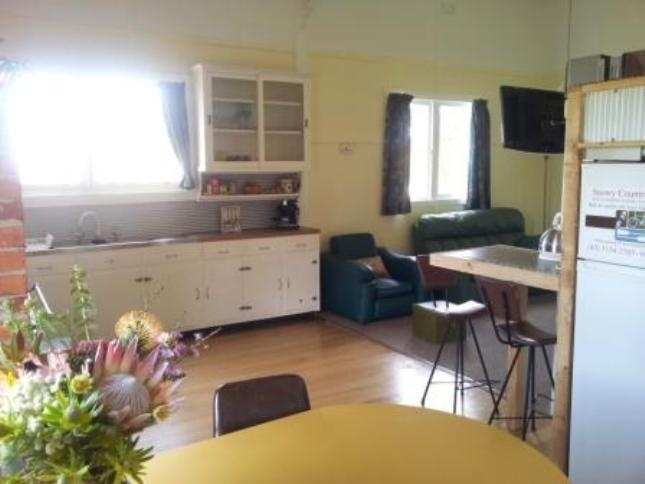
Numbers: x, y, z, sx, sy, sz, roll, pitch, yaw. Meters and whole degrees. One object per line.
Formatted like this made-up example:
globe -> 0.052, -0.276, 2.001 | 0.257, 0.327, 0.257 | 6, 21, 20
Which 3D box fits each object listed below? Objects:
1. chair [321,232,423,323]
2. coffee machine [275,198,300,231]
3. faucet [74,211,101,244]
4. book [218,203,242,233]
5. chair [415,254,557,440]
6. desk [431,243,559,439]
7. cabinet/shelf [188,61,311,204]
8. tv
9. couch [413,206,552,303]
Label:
chair -> 0.544, 0.408, 5.843 | 1.018, 0.931, 0.973 | -4, 8, -29
coffee machine -> -0.377, -0.311, 5.509 | 0.302, 0.354, 0.301 | -1, 4, -27
faucet -> -2.141, -0.140, 4.628 | 0.225, 0.279, 0.277 | -5, 11, -27
book -> -0.965, -0.252, 5.320 | 0.213, 0.272, 0.301 | -2, 10, -9
chair -> 1.208, 0.627, 3.947 | 0.930, 1.963, 0.843 | -6, 6, -20
desk -> 1.195, 0.726, 3.532 | 0.689, 1.008, 1.002 | -8, 13, -34
cabinet/shelf -> -0.696, -1.221, 5.313 | 1.148, 1.111, 0.393 | -3, 10, -23
tv -> 1.578, -0.914, 3.791 | 0.760, 0.455, 0.140 | -8, 13, -38
couch -> 1.840, 0.114, 6.930 | 1.976, 1.122, 1.341 | -2, 11, -20
